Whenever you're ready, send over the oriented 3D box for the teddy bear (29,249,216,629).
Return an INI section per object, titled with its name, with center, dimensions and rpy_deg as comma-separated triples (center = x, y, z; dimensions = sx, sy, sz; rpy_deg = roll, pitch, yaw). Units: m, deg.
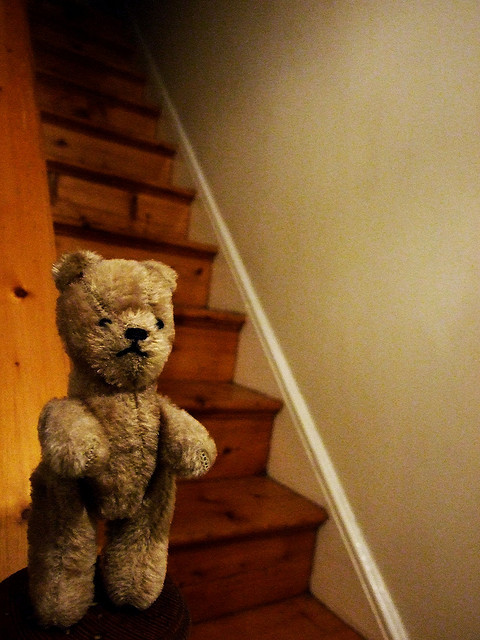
[teddy bear]
center = -0.191, 0.169, 0.964
dimensions = 0.246, 0.528, 0.248
rpy_deg = 8, 11, -29
